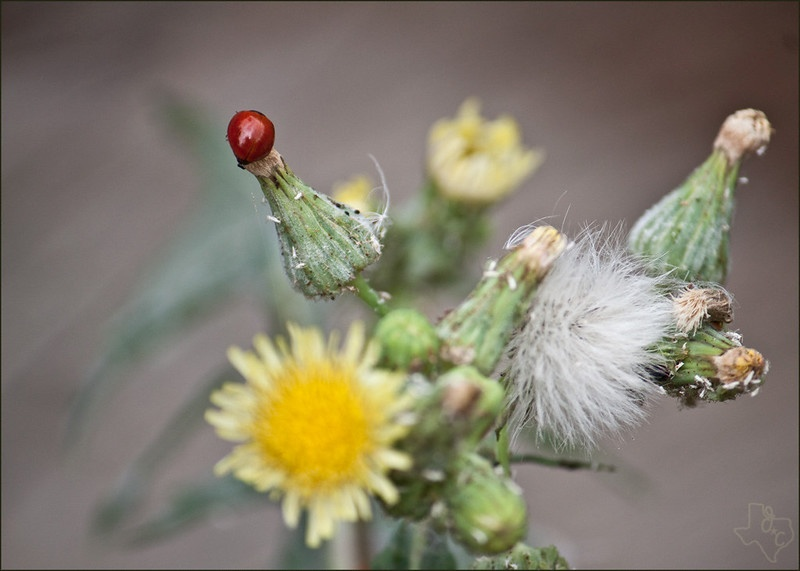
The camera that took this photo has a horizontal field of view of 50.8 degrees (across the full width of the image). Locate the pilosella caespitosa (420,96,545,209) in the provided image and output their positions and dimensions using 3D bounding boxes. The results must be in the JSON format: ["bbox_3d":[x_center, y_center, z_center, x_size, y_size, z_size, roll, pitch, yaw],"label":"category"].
[{"bbox_3d":[0.105,-0.169,1.106,0.137,0.117,0.086,3,16,4],"label":"pilosella caespitosa"}]

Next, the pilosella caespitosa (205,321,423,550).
[{"bbox_3d":[-0.093,0.108,0.903,0.151,0.259,0.194,-3,9,-24],"label":"pilosella caespitosa"}]

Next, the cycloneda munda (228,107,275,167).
[{"bbox_3d":[-0.157,-0.152,0.889,0.045,0.058,0.028,-2,16,-14],"label":"cycloneda munda"}]
